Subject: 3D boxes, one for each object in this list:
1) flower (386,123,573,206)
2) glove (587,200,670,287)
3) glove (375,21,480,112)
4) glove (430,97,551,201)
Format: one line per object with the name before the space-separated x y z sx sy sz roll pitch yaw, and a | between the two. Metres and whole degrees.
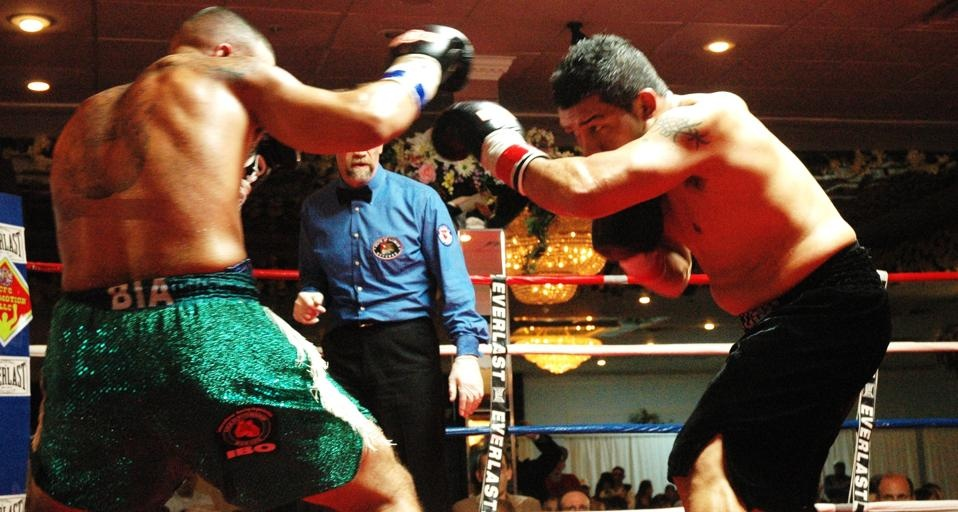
flower | -0.078 -0.823 7.571 1.098 0.311 0.873 -20 32 -39
glove | 0.755 -0.137 4.452 0.228 0.246 0.296 -13 12 -35
glove | -0.231 -0.969 4.305 0.434 0.212 0.498 -4 28 17
glove | 0.035 -0.592 4.522 0.674 0.375 0.265 28 51 19
